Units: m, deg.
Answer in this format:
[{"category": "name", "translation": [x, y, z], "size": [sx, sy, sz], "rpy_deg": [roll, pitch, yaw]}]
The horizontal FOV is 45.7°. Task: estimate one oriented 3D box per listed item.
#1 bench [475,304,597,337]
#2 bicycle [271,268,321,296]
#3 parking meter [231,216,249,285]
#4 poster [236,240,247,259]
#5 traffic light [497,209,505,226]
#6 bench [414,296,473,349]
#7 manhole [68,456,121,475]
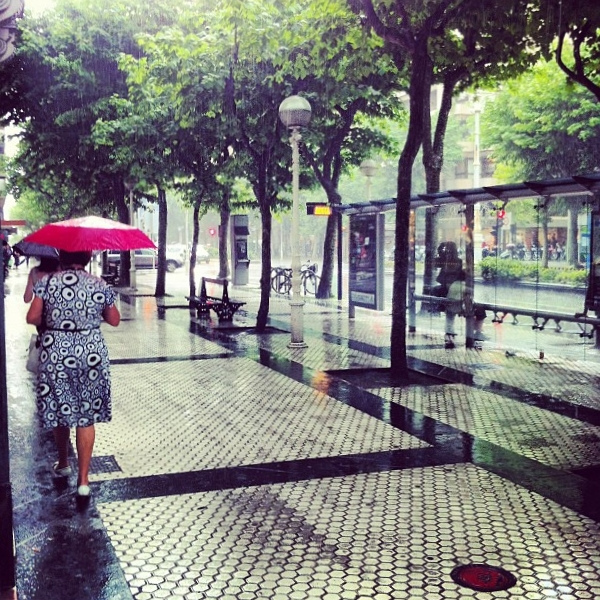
[{"category": "bench", "translation": [3.847, 0.289, 11.812], "size": [0.171, 0.343, 2.687], "rpy_deg": [0, 4, -25]}, {"category": "bicycle", "translation": [-0.158, -0.781, 28.899], "size": [1.604, 1.215, 1.107], "rpy_deg": [-1, 8, 10]}, {"category": "parking meter", "translation": [-2.873, -2.393, 33.657], "size": [0.760, 3.240, 0.907], "rpy_deg": [1, 3, -8]}, {"category": "poster", "translation": [-2.778, -2.435, 33.558], "size": [0.520, 0.900, 0.702], "rpy_deg": [1, 3, -6]}, {"category": "traffic light", "translation": [3.446, -1.442, 12.230], "size": [0.077, 0.278, 0.200], "rpy_deg": [1, 3, -19]}, {"category": "bench", "translation": [2.863, 0.347, 13.869], "size": [0.090, 0.832, 1.652], "rpy_deg": [0, 4, -23]}, {"category": "manhole", "translation": [-1.716, 1.326, 5.920], "size": [0.387, 0.101, 0.581], "rpy_deg": [1, 4, -20]}]
